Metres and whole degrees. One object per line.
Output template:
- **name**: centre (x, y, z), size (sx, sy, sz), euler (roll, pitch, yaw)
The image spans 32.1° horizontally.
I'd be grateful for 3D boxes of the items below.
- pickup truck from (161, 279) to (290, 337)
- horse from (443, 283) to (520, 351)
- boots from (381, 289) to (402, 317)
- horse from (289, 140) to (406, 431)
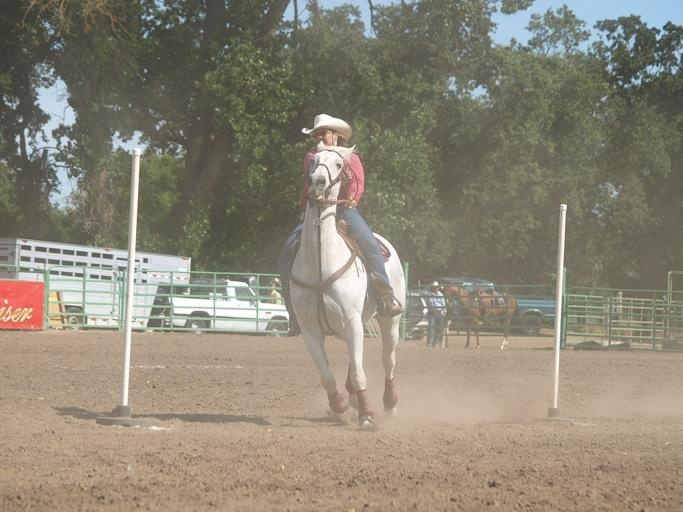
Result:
- **pickup truck**: centre (-4.416, 2.041, 43.685), size (4.039, 2.108, 3.653), euler (11, 8, 19)
- **horse**: centre (5.206, 1.919, 43.250), size (3.134, 1.652, 0.782), euler (4, -23, -21)
- **boots**: centre (1.263, 1.167, 29.699), size (0.306, 0.682, 0.929), euler (-12, -13, -16)
- **horse**: centre (0.145, 1.201, 31.252), size (2.295, 6.711, 8.832), euler (-3, -7, 13)
